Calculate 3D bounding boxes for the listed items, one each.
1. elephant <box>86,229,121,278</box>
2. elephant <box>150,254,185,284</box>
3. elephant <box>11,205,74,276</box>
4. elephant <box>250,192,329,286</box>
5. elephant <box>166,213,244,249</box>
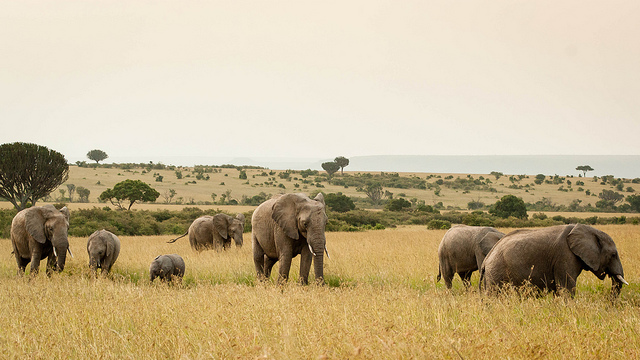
[{"bbox_3d":[-11.717,3.977,37.371,1.152,2.408,2.187,0,-2,22],"label":"elephant"},{"bbox_3d":[-8.064,4.727,36.847,1.845,1.400,0.674,3,-3,-37],"label":"elephant"},{"bbox_3d":[-15.088,3.596,37.849,4.864,4.061,2.436,-8,-11,40],"label":"elephant"},{"bbox_3d":[-1.548,2.650,34.184,2.953,4.841,3.128,1,-1,-16],"label":"elephant"},{"bbox_3d":[-7.660,3.794,46.141,5.846,2.789,2.265,-2,-8,21],"label":"elephant"}]
